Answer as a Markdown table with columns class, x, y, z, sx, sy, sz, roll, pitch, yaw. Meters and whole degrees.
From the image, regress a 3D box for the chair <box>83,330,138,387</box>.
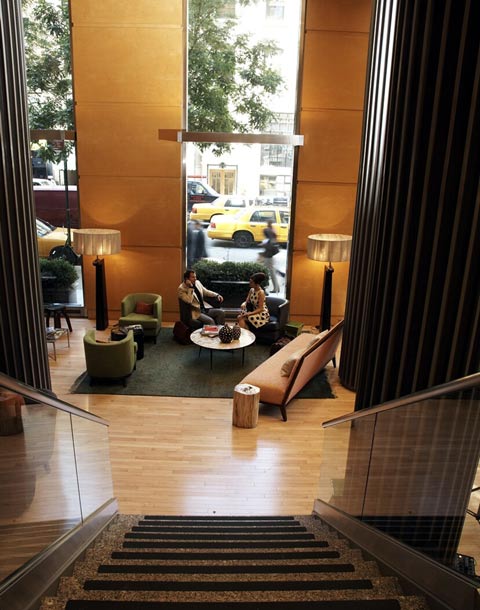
| class | x | y | z | sx | sy | sz | roll | pitch | yaw |
| --- | --- | --- | --- | --- | --- | --- | --- | --- | --- |
| chair | -1.767 | 0.739 | 6.981 | 0.758 | 0.626 | 0.732 | 1 | 20 | -3 |

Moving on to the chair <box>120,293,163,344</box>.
| class | x | y | z | sx | sy | sz | roll | pitch | yaw |
| --- | --- | --- | --- | --- | --- | --- | --- | --- | --- |
| chair | -1.747 | 0.189 | 8.601 | 0.738 | 0.648 | 0.681 | 1 | 16 | -4 |

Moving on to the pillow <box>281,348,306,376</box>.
| class | x | y | z | sx | sy | sz | roll | pitch | yaw |
| --- | --- | --- | --- | --- | --- | --- | --- | --- | --- |
| pillow | 0.673 | 0.751 | 6.325 | 0.149 | 0.198 | 0.286 | 27 | 44 | 33 |

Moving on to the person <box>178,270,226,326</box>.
| class | x | y | z | sx | sy | sz | roll | pitch | yaw |
| --- | --- | --- | --- | --- | --- | --- | --- | --- | --- |
| person | -0.650 | 0.035 | 8.554 | 0.741 | 1.253 | 0.635 | -2 | 20 | 17 |

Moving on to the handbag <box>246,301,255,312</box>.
| class | x | y | z | sx | sy | sz | roll | pitch | yaw |
| --- | --- | --- | --- | --- | --- | --- | --- | --- | --- |
| handbag | 0.159 | 0.035 | 8.383 | 0.153 | 0.133 | 0.036 | 13 | 6 | 40 |

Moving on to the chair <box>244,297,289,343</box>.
| class | x | y | z | sx | sy | sz | roll | pitch | yaw |
| --- | --- | --- | --- | --- | --- | --- | --- | --- | --- |
| chair | 0.487 | 0.261 | 8.625 | 0.767 | 0.723 | 0.734 | -5 | 13 | -26 |

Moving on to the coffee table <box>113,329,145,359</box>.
| class | x | y | z | sx | sy | sz | roll | pitch | yaw |
| --- | --- | --- | --- | --- | --- | --- | --- | --- | --- |
| coffee table | -1.643 | 0.594 | 7.576 | 0.504 | 0.523 | 0.479 | 1 | 8 | 1 |

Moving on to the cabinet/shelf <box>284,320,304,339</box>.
| class | x | y | z | sx | sy | sz | roll | pitch | yaw |
| --- | --- | --- | --- | --- | --- | --- | --- | --- | --- |
| cabinet/shelf | 0.900 | 0.431 | 8.497 | 0.274 | 0.189 | 0.263 | 3 | 3 | 5 |

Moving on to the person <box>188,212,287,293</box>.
| class | x | y | z | sx | sy | sz | roll | pitch | yaw |
| --- | --- | --- | --- | --- | --- | --- | --- | --- | --- |
| person | 0.034 | -1.242 | 9.279 | 1.674 | 0.428 | 0.865 | -4 | 36 | -3 |

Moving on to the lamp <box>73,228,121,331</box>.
| class | x | y | z | sx | sy | sz | roll | pitch | yaw |
| --- | --- | --- | --- | --- | --- | --- | --- | --- | --- |
| lamp | -2.458 | -0.428 | 8.693 | 0.765 | 1.584 | 0.734 | -3 | 2 | -32 |

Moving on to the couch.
| class | x | y | z | sx | sy | sz | roll | pitch | yaw |
| --- | --- | --- | --- | --- | --- | --- | --- | --- | --- |
| couch | 0.815 | 0.753 | 6.973 | 0.854 | 0.790 | 1.977 | 11 | 19 | 27 |

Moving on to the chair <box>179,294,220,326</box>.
| class | x | y | z | sx | sy | sz | roll | pitch | yaw |
| --- | --- | --- | --- | --- | --- | --- | --- | --- | --- |
| chair | -0.674 | 0.090 | 8.540 | 0.571 | 0.642 | 0.509 | -5 | 14 | 17 |
